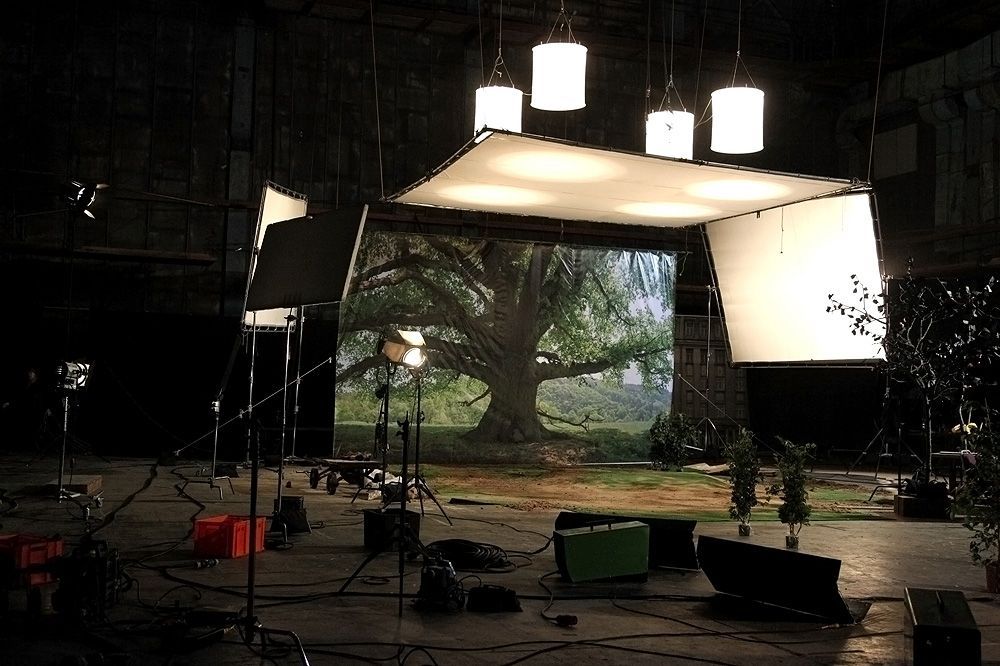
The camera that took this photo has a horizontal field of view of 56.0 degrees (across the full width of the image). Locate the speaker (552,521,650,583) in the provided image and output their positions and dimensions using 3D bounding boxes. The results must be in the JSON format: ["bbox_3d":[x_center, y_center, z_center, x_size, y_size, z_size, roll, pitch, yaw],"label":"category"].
[{"bbox_3d":[1.419,3.044,12.844,0.810,0.496,0.252,0,0,-10],"label":"speaker"}]

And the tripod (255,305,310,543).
[{"bbox_3d":[-4.354,1.770,18.523,0.843,3.625,1.071,2,-7,9],"label":"tripod"}]

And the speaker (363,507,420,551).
[{"bbox_3d":[-1.540,2.866,13.425,0.997,0.596,0.965,3,-8,-12],"label":"speaker"}]

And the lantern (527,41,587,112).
[{"bbox_3d":[1.007,-4.238,15.498,0.909,1.120,0.822,0,-1,-33],"label":"lantern"}]

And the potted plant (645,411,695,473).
[{"bbox_3d":[3.996,2.668,23.026,1.326,1.607,1.200,3,-4,-45],"label":"potted plant"}]

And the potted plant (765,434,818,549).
[{"bbox_3d":[5.277,2.917,16.839,0.852,1.885,0.770,0,3,3],"label":"potted plant"}]

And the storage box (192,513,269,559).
[{"bbox_3d":[-3.878,2.924,13.515,0.697,0.463,0.889,-2,-9,13],"label":"storage box"}]

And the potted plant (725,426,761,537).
[{"bbox_3d":[4.000,2.357,15.210,0.652,1.913,0.642,-1,3,-19],"label":"potted plant"}]
